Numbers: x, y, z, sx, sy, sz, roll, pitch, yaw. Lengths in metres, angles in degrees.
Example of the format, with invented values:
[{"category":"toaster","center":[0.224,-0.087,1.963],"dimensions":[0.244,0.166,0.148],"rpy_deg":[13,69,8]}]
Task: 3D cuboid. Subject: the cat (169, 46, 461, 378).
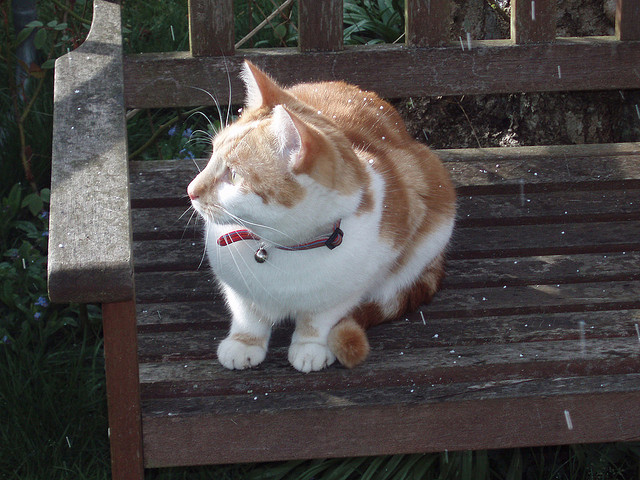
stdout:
[{"category":"cat","center":[0.008,-0.159,2.481],"dimensions":[0.699,0.972,1.098],"rpy_deg":[14,37,31]}]
